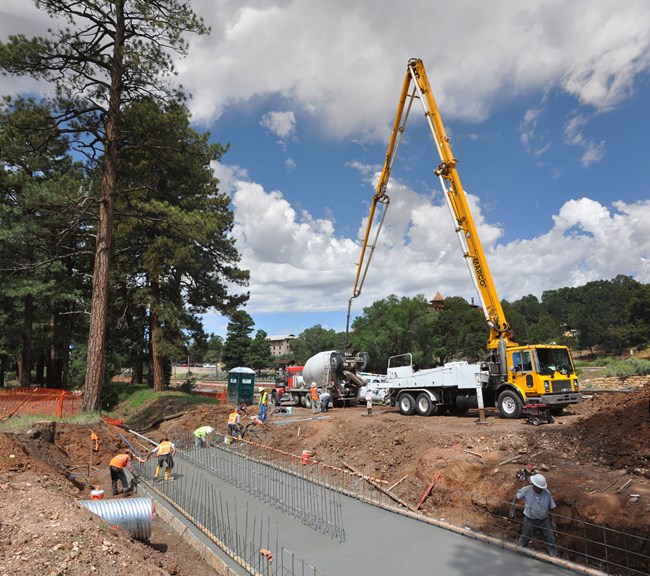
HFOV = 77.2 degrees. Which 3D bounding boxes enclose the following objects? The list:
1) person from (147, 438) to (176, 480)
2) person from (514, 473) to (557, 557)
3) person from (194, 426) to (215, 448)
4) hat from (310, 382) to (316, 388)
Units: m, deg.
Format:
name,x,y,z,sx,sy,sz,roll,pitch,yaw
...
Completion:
name,x,y,z,sx,sy,sz,roll,pitch,yaw
person,-5.113,5.137,12.668,0.716,1.061,2.678,2,-12,-23
person,3.919,4.055,7.532,0.629,1.232,1.302,-8,-12,28
person,-4.410,5.318,14.753,0.653,0.853,0.866,3,-13,-39
hat,-0.724,5.388,23.181,0.386,0.408,0.602,-1,-15,-2
